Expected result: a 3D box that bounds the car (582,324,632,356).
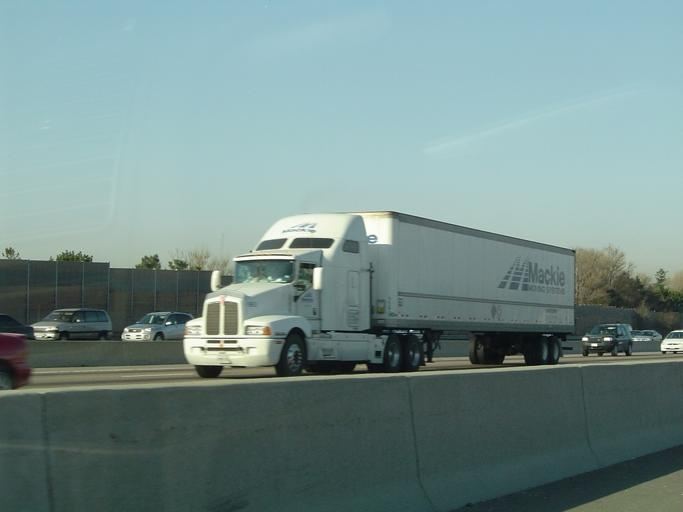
[{"bbox_3d":[15.793,4.902,48.586,1.713,1.222,3.104,-5,-10,32],"label":"car"}]
